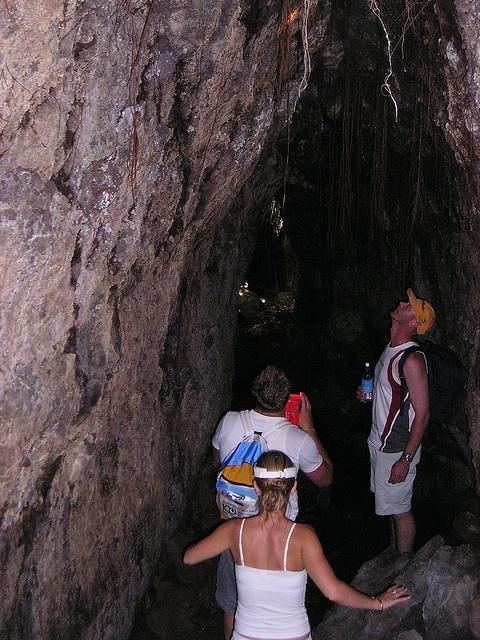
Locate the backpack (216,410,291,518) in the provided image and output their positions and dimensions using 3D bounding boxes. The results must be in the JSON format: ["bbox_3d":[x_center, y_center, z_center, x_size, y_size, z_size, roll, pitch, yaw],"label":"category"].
[{"bbox_3d":[0.063,0.557,2.341,0.219,0.428,0.407,5,-36,3],"label":"backpack"}]

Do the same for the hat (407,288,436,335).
[{"bbox_3d":[1.008,-0.036,3.154,0.139,0.259,0.259,4,12,17],"label":"hat"}]

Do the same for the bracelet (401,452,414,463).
[{"bbox_3d":[0.899,0.739,3.032,0.049,0.045,0.052,10,1,31],"label":"bracelet"}]
